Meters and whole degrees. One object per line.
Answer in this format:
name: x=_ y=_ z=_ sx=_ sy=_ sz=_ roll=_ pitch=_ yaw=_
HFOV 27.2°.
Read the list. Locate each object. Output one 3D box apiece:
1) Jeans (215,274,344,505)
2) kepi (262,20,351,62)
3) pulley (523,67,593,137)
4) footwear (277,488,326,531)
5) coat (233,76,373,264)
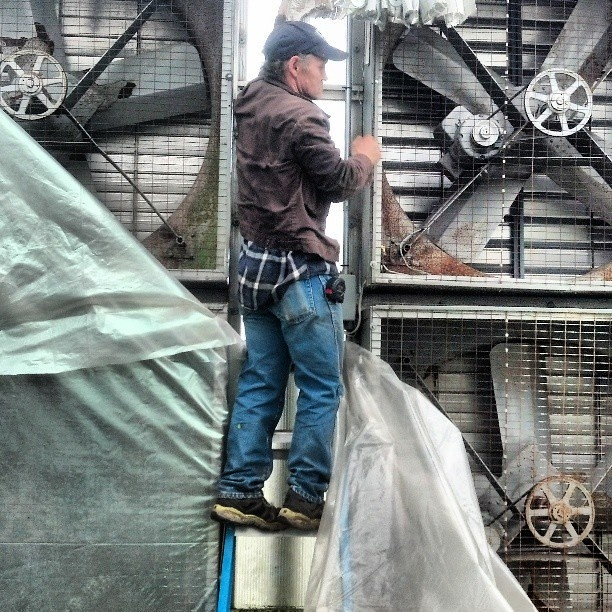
Jeans: x=-0.104 y=0.382 z=5.506 sx=0.486 sy=0.996 sz=0.455 roll=3 pitch=-22 yaw=4
kepi: x=0.000 y=-1.175 z=5.684 sx=0.411 sy=0.224 sz=0.277 roll=-4 pitch=-1 yaw=2
pulley: x=1.293 y=-1.055 z=6.571 sx=0.339 sy=0.391 sz=0.341 roll=0 pitch=5 yaw=-1
footwear: x=-0.028 y=0.880 z=5.381 sx=0.091 sy=0.141 sz=0.275 roll=-6 pitch=-27 yaw=25
coat: x=-0.039 y=-0.630 z=5.519 sx=0.623 sy=0.795 sz=0.407 roll=4 pitch=-22 yaw=2
